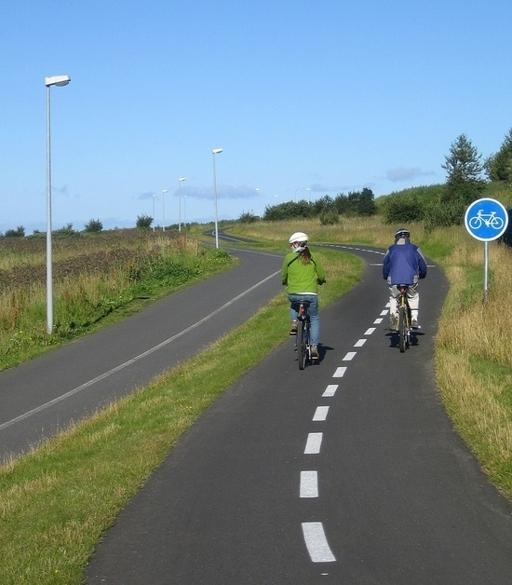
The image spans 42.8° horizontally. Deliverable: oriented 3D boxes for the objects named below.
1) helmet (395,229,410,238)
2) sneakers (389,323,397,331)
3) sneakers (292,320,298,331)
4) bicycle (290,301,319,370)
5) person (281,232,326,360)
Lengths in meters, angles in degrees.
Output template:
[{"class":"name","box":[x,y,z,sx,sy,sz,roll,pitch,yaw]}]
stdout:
[{"class":"helmet","box":[2.603,-1.067,11.684,0.182,0.210,0.180,9,0,16]},{"class":"sneakers","box":[2.496,0.615,11.900,0.071,0.126,0.114,-2,5,3]},{"class":"sneakers","box":[0.609,0.513,10.311,0.092,0.236,0.115,2,-2,4]},{"class":"bicycle","box":[0.754,0.661,10.374,0.346,0.641,0.982,-1,31,3]},{"class":"person","box":[0.763,0.098,10.405,0.677,2.102,0.672,-2,3,-10]}]
